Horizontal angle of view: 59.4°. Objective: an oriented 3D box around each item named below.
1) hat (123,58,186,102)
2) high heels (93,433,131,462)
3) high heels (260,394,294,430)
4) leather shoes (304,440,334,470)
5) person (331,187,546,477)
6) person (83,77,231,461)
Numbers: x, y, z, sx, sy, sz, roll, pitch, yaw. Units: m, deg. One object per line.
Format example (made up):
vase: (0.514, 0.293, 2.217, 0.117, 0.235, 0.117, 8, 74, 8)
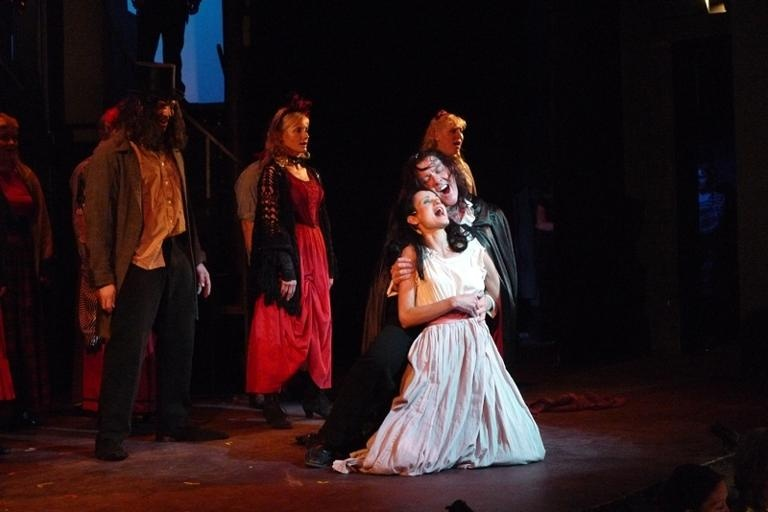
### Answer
hat: (-1.399, -1.063, 4.120, 0.327, 0.168, 0.280, 4, 11, 13)
high heels: (-1.506, 1.065, 3.745, 0.092, 0.096, 0.242, 6, -14, -34)
high heels: (-0.723, 1.028, 4.493, 0.256, 0.215, 0.112, -2, -4, 29)
leather shoes: (-0.339, 1.041, 3.500, 0.080, 0.073, 0.165, 4, 0, 14)
person: (0.331, 0.379, 3.561, 0.980, 1.461, 0.273, 2, -4, -13)
person: (-1.393, 0.090, 4.006, 0.281, 2.112, 0.676, -3, -5, 43)
